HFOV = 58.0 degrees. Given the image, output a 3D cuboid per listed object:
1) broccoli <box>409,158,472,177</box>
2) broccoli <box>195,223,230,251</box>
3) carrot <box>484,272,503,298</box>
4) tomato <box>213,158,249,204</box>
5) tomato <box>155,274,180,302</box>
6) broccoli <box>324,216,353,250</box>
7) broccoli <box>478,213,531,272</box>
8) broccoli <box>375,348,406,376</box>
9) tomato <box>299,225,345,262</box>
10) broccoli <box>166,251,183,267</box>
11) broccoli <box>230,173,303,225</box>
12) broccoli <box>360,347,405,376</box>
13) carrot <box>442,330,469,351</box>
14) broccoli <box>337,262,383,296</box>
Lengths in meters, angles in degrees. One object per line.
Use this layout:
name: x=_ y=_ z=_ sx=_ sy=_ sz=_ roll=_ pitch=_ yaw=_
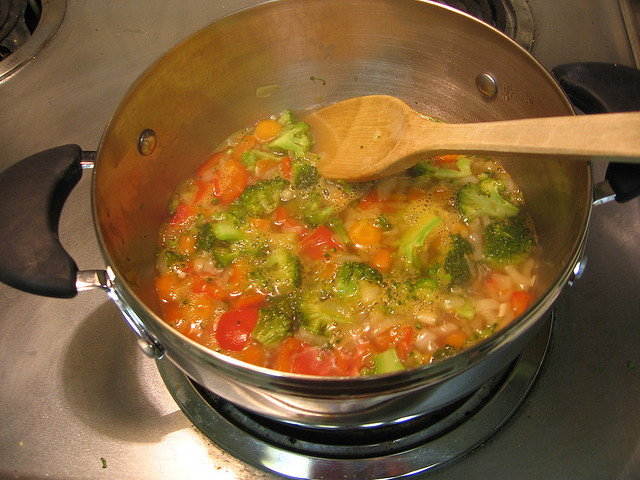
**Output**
broccoli: x=0.477 y=-0.279 z=2.298 sx=0.092 sy=0.236 sz=0.082 roll=85 pitch=-175 yaw=-81
broccoli: x=-0.405 y=-0.014 z=2.199 sx=0.047 sy=0.110 sz=0.093 roll=84 pitch=-173 yaw=-49
carrot: x=0.625 y=0.163 z=2.060 sx=0.022 sy=0.060 sz=0.080 roll=59 pitch=-145 yaw=-68
tomato: x=-0.364 y=-0.236 z=2.333 sx=0.052 sy=0.130 sz=0.167 roll=97 pitch=-174 yaw=-81
tomato: x=-0.572 y=0.175 z=2.144 sx=0.052 sy=0.075 sz=0.096 roll=104 pitch=170 yaw=-52
broccoli: x=0.079 y=-0.037 z=2.224 sx=0.059 sy=0.174 sz=0.046 roll=2 pitch=-47 yaw=-46
broccoli: x=0.686 y=0.028 z=2.129 sx=0.142 sy=0.190 sz=0.153 roll=-30 pitch=20 yaw=43
broccoli: x=0.228 y=0.405 z=1.896 sx=0.089 sy=0.095 sz=0.026 roll=-29 pitch=-26 yaw=-1
tomato: x=-0.004 y=0.012 z=2.187 sx=0.128 sy=0.127 sz=0.036 roll=-39 pitch=-9 yaw=-12
broccoli: x=-0.558 y=0.072 z=2.195 sx=0.014 sy=0.050 sz=0.052 roll=110 pitch=163 yaw=-66
broccoli: x=-0.213 y=-0.163 z=2.338 sx=0.270 sy=0.173 sz=0.062 roll=-31 pitch=-4 yaw=-12
broccoli: x=0.217 y=0.408 z=1.897 sx=0.093 sy=0.033 sz=0.102 roll=-20 pitch=45 yaw=12
carrot: x=0.469 y=0.337 z=1.966 sx=0.072 sy=0.065 sz=0.038 roll=-46 pitch=14 yaw=-11
broccoli: x=0.121 y=0.114 z=2.104 sx=0.155 sy=0.106 sz=0.171 roll=-10 pitch=19 yaw=-31
